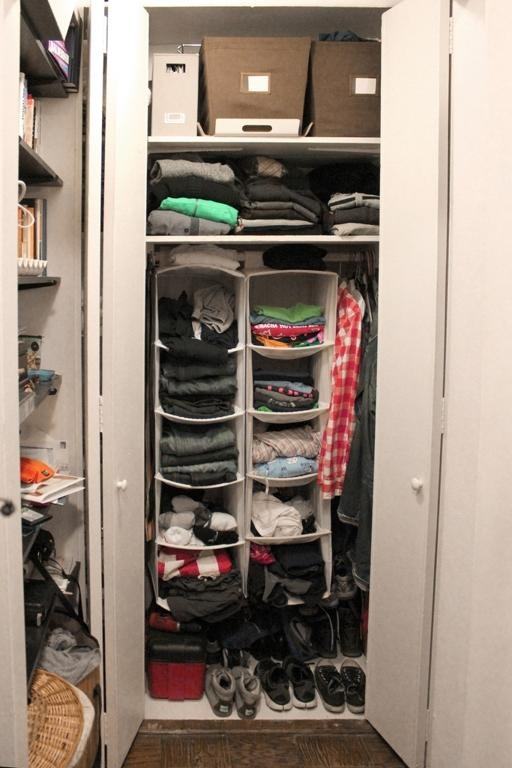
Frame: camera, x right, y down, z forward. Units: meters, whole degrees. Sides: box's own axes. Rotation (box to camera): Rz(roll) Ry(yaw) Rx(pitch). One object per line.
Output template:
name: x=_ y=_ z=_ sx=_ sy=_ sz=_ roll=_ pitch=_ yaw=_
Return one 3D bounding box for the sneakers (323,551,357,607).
sneakers: x=0.332 y=0.758 z=2.497 sx=0.083 sy=0.120 sz=0.262 roll=-3 pitch=7 yaw=4
